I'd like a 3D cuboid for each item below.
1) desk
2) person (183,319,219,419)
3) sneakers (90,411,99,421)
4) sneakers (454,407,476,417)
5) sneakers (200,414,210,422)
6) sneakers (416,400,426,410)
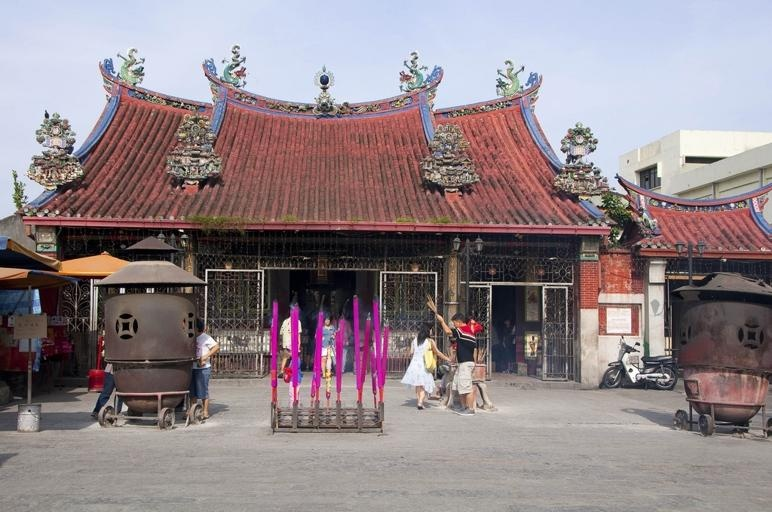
[{"bbox_3d":[-9.355,3.037,29.264,1.539,1.284,2.175,-2,1,1],"label":"desk"},{"bbox_3d":[-4.257,2.694,25.318,0.573,2.357,1.308,2,-10,-10],"label":"person"},{"bbox_3d":[-6.790,3.770,25.212,0.102,0.114,0.271,1,0,-6],"label":"sneakers"},{"bbox_3d":[1.966,3.867,26.529,0.507,0.192,0.184,0,-7,19],"label":"sneakers"},{"bbox_3d":[-4.224,3.815,25.242,0.203,0.064,0.198,2,0,5],"label":"sneakers"},{"bbox_3d":[0.903,3.794,27.308,0.137,0.166,0.400,-3,-16,6],"label":"sneakers"}]
